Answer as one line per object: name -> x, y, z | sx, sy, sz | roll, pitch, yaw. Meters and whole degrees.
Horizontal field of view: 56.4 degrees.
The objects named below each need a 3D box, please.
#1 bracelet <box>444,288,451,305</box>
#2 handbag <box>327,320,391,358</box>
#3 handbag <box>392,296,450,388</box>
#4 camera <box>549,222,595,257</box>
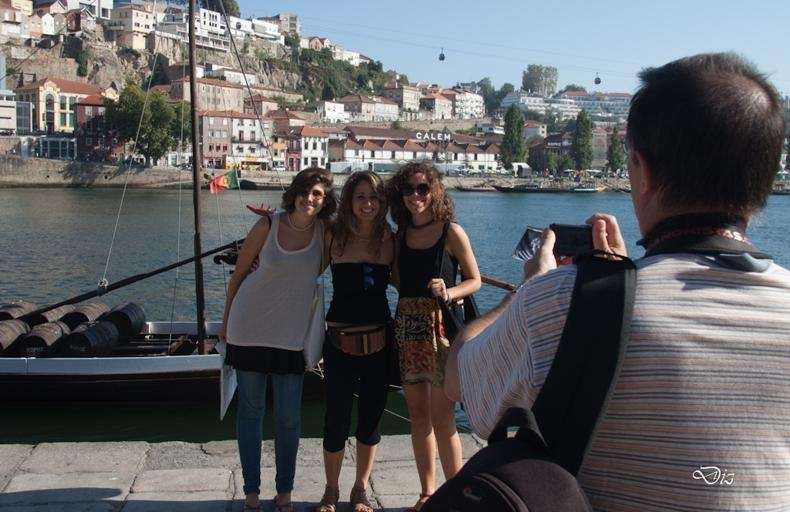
bracelet -> 0.251, 0.201, 3.542 | 0.023, 0.059, 0.047 | 2, 10, -9
handbag -> -0.182, 0.412, 3.870 | 0.350, 0.159, 0.393 | -2, 0, 23
handbag -> 0.160, 0.424, 3.803 | 0.287, 0.445, 0.270 | -2, -9, 5
camera -> 0.551, -0.057, 2.194 | 0.146, 0.097, 0.111 | 2, 11, 43
